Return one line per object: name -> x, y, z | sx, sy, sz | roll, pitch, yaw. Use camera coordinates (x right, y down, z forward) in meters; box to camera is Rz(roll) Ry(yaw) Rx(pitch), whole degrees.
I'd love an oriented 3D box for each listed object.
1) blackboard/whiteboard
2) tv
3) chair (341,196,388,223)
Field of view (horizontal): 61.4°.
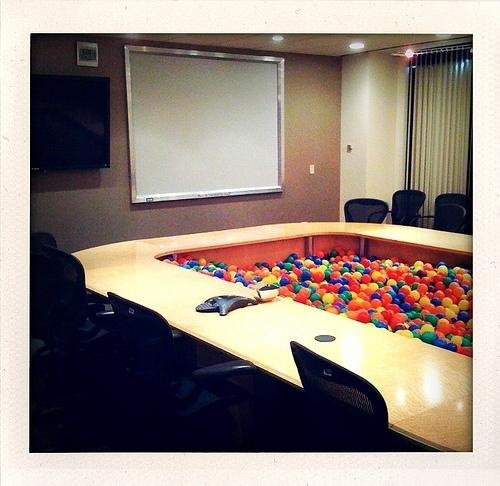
blackboard/whiteboard -> -0.356, -0.850, 2.940 | 1.157, 1.030, 0.082 | -4, 8, -24
tv -> -1.156, -0.781, 2.706 | 0.337, 0.639, 0.686 | 4, 8, 11
chair -> 1.271, -0.381, 4.693 | 0.320, 0.439, 0.332 | -1, 9, 2
